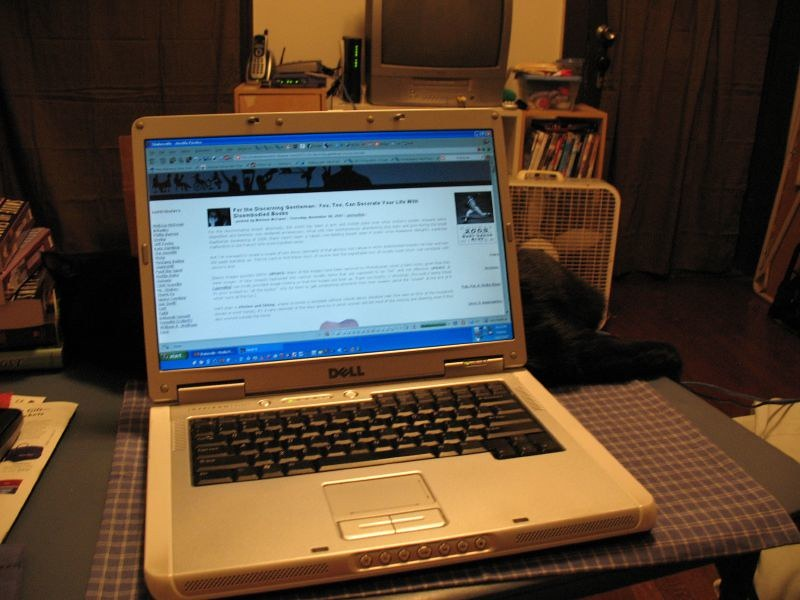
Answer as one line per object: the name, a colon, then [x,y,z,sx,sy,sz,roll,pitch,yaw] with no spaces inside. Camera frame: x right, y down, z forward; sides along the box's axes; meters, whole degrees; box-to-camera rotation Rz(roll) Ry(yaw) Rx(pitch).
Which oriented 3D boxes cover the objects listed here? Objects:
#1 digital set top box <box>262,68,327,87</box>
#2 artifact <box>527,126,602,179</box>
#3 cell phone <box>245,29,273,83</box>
digital set top box: [-0.453,-0.905,2.688,0.281,0.065,0.118,9,28,19]
artifact: [0.808,-0.638,3.081,0.171,0.255,0.283,13,-4,4]
cell phone: [-0.617,-1.063,2.857,0.118,0.200,0.328,-5,27,-9]
